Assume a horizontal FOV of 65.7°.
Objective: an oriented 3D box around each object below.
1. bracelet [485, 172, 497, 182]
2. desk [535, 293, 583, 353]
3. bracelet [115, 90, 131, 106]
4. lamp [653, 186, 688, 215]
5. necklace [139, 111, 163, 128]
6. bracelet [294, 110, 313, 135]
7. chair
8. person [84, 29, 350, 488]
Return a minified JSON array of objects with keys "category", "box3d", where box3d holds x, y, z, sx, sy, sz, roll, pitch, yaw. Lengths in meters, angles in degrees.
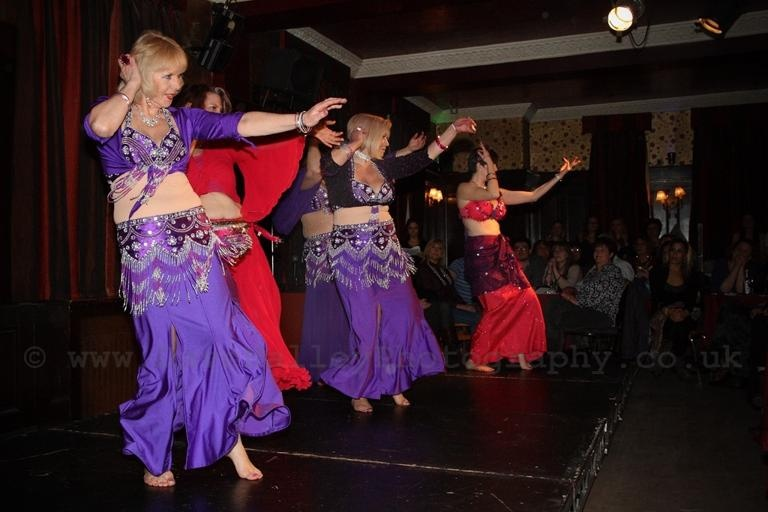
[{"category":"bracelet","box3d":[0.981,-0.729,5.435,0.087,0.076,0.081,0,7,-4]},{"category":"desk","box3d":[1.860,0.718,6.419,0.452,0.692,0.485,-9,-12,26]},{"category":"bracelet","box3d":[-1.305,-0.793,2.973,0.067,0.067,0.034,1,7,8]},{"category":"lamp","box3d":[5.099,-1.041,10.574,0.502,0.419,0.513,4,8,27]},{"category":"necklace","box3d":[-1.208,-0.705,3.073,0.096,0.072,0.029,-4,8,-33]},{"category":"bracelet","box3d":[-0.448,-0.712,3.193,0.043,0.110,0.097,-6,24,35]},{"category":"chair","box3d":[2.423,0.586,6.108,0.276,0.971,0.276,23,6,28]},{"category":"person","box3d":[-1.032,0.017,3.149,0.955,2.341,0.563,-3,8,-24]}]
